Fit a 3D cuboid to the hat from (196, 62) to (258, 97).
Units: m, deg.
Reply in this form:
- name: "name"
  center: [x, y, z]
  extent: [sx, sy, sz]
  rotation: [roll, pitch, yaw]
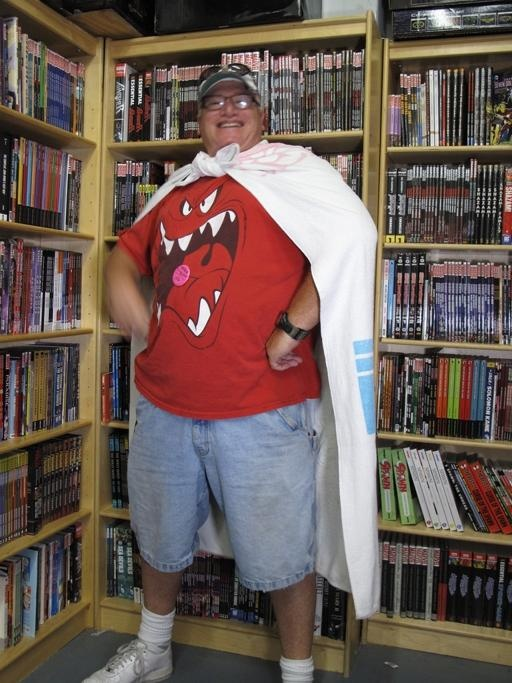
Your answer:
- name: "hat"
  center: [-0.080, -0.696, 1.529]
  extent: [0.139, 0.069, 0.086]
  rotation: [1, 13, -4]
